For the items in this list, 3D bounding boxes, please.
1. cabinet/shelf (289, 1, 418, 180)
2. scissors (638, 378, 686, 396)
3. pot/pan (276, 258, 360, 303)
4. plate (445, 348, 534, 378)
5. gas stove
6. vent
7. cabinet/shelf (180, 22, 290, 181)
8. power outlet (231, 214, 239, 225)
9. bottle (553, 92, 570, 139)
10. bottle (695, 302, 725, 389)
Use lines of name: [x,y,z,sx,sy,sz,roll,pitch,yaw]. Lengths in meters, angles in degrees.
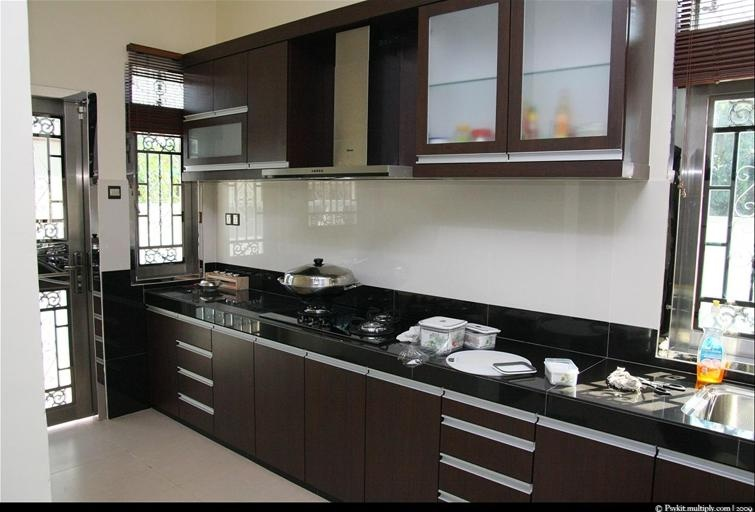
cabinet/shelf: [-0.137,-1.041,3.423,1.239,1.083,0.408,9,13,38]
scissors: [1.340,0.616,2.554,0.083,0.011,0.147,-3,2,-16]
pot/pan: [-0.347,0.113,3.571,0.376,0.148,0.315,2,2,45]
plate: [0.579,0.546,2.784,0.459,0.051,0.310,6,9,23]
gas stove: [-0.241,0.397,3.517,1.044,0.075,0.569,8,10,34]
vent: [-0.252,-1.000,3.486,1.138,1.001,0.411,6,7,41]
cabinet/shelf: [-0.974,-1.059,4.119,1.189,0.929,0.396,4,4,36]
power outlet: [-1.211,-0.315,4.627,0.012,0.079,0.087,-9,20,-44]
bottle: [0.894,-0.671,2.603,0.081,0.198,0.024,6,9,19]
bottle: [1.635,0.423,2.627,0.117,0.378,0.274,8,10,33]
